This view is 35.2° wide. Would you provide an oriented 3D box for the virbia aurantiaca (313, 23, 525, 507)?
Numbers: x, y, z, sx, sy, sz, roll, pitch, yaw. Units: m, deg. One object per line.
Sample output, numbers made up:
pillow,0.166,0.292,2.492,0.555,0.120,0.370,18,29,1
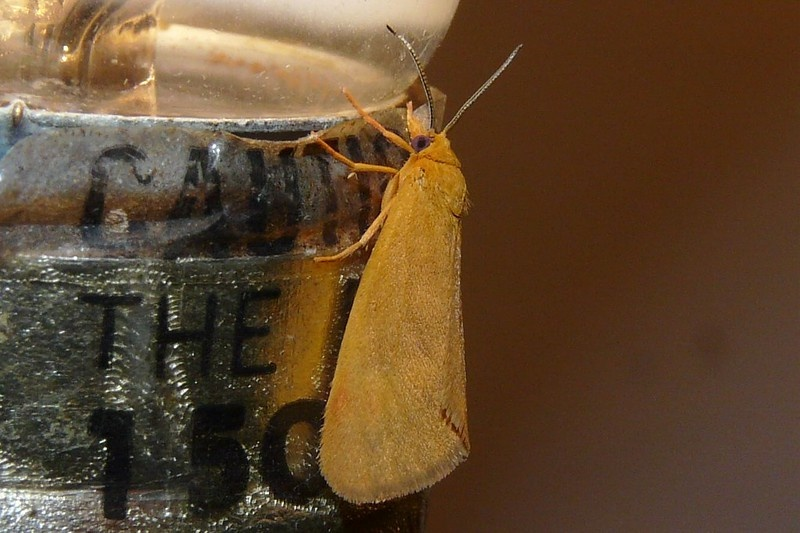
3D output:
virbia aurantiaca,0.009,0.017,1.105,0.151,0.453,0.125,0,4,-30
